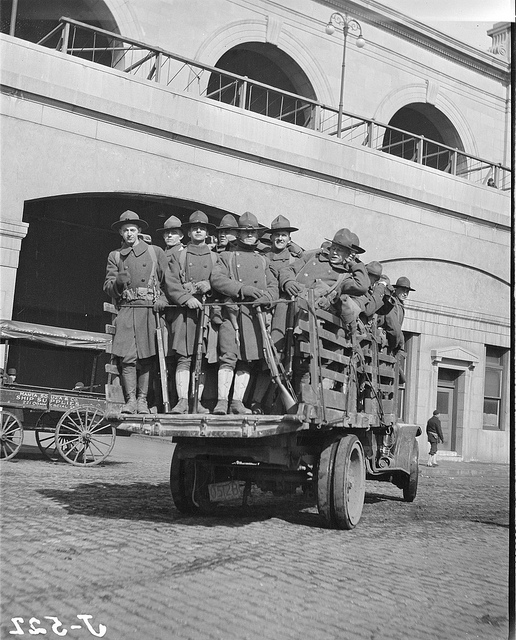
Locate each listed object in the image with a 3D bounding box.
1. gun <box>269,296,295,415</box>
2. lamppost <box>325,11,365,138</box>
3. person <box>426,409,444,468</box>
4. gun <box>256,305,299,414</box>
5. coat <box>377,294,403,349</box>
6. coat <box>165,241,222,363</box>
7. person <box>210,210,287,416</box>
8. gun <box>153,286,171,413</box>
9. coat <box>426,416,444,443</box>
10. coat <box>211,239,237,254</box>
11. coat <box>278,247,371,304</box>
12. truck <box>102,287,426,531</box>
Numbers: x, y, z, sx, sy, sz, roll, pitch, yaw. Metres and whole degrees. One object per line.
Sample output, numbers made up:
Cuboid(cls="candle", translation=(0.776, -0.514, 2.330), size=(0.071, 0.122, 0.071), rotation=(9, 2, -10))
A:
Cuboid(cls="gun", translation=(0.224, 0.344, 7.925), size=(0.190, 1.060, 0.056), rotation=(4, -7, 24))
Cuboid(cls="lamppost", translation=(1.144, -3.240, 11.911), size=(0.587, 0.372, 2.251), rotation=(26, -25, 16))
Cuboid(cls="person", translation=(3.729, 2.520, 18.808), size=(0.321, 1.147, 1.398), rotation=(2, -3, 11))
Cuboid(cls="gun", translation=(0.193, 0.339, 7.957), size=(0.109, 0.982, 0.269), rotation=(-10, -20, -11))
Cuboid(cls="coat", translation=(1.640, 0.046, 10.950), size=(0.183, 0.553, 0.511), rotation=(-2, 6, 4))
Cuboid(cls="coat", translation=(-0.603, -0.203, 8.320), size=(0.555, 0.995, 0.286), rotation=(9, -15, -30))
Cuboid(cls="person", translation=(-0.093, -0.091, 8.270), size=(0.674, 1.937, 1.061), rotation=(3, -2, -3))
Cuboid(cls="gun", translation=(-0.883, 0.292, 8.200), size=(0.034, 1.158, 0.156), rotation=(-9, -7, 14))
Cuboid(cls="coat", translation=(3.731, 2.329, 18.878), size=(0.311, 0.550, 0.505), rotation=(2, -3, 22))
Cuboid(cls="coat", translation=(-0.349, -0.730, 9.067), size=(0.204, 0.121, 0.161), rotation=(-9, -7, 16))
Cuboid(cls="coat", translation=(0.646, -0.448, 8.758), size=(0.892, 0.632, 0.915), rotation=(3, -3, 8))
Cuboid(cls="truck", translation=(0.442, 0.981, 8.946), size=(1.830, 1.961, 3.874), rotation=(-3, -6, 34))
